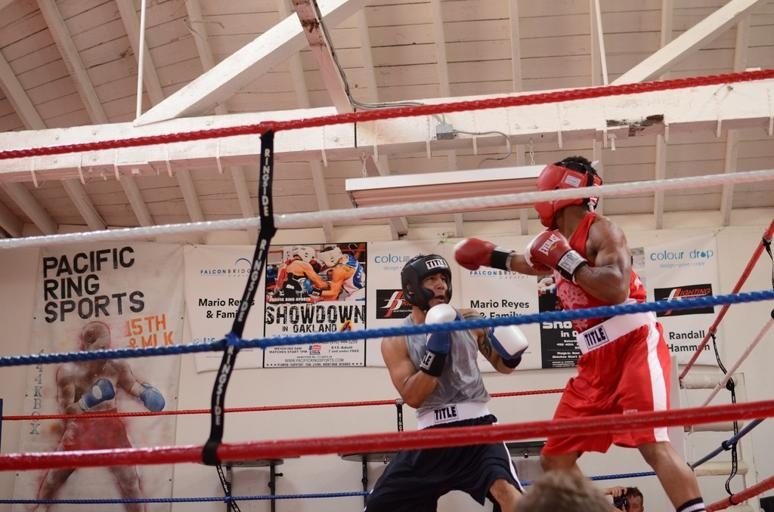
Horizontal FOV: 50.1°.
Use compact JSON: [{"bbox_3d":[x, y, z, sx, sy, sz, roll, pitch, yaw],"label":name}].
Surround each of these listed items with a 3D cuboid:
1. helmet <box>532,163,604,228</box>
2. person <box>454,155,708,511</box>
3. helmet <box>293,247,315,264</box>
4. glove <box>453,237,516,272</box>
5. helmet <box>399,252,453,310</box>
[{"bbox_3d":[1.215,-0.439,5.598,0.498,0.447,0.372,-3,-19,13],"label":"helmet"},{"bbox_3d":[1.271,0.453,5.337,1.215,2.287,0.526,-3,-10,6],"label":"person"},{"bbox_3d":[-0.913,-0.031,9.048,0.227,0.166,0.152,-21,-48,-9],"label":"helmet"},{"bbox_3d":[0.666,0.018,5.619,0.450,0.158,0.275,2,13,43],"label":"glove"},{"bbox_3d":[0.266,0.189,5.751,0.350,0.403,0.335,-7,4,41],"label":"helmet"}]
